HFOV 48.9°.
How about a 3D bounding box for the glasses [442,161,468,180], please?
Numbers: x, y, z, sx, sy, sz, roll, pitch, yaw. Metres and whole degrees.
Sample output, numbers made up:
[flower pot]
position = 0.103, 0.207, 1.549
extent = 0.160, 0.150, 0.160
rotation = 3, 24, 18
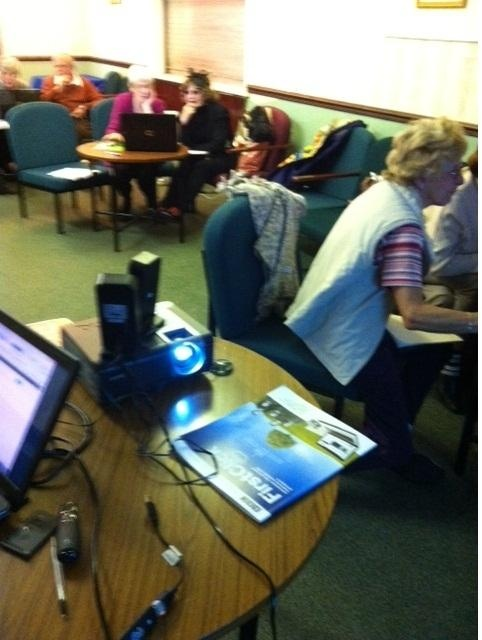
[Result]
[glasses]
position = 0.431, -0.302, 1.071
extent = 0.032, 0.029, 0.040
rotation = -7, 23, -12

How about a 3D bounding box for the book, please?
[book]
position = 0.041, 0.190, 0.783
extent = 0.177, 0.023, 0.160
rotation = -24, 39, -38

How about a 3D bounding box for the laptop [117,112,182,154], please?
[laptop]
position = -0.509, -1.049, 2.981
extent = 0.304, 0.204, 0.205
rotation = 2, 13, 2

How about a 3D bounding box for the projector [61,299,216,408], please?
[projector]
position = -0.185, 0.048, 0.950
extent = 0.282, 0.075, 0.272
rotation = 4, 28, 10

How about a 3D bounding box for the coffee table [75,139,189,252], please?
[coffee table]
position = -0.573, -0.725, 3.278
extent = 0.620, 0.490, 0.569
rotation = -20, 18, -11

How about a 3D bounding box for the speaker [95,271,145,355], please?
[speaker]
position = -0.190, 0.005, 0.812
extent = 0.061, 0.021, 0.133
rotation = 2, 63, -24

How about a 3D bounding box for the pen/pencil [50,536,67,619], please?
[pen/pencil]
position = -0.205, 0.285, 0.588
extent = 0.016, 0.015, 0.141
rotation = -7, 30, -18

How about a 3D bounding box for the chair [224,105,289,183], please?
[chair]
position = 0.065, -1.284, 3.543
extent = 0.269, 0.297, 0.246
rotation = 18, 0, 5
